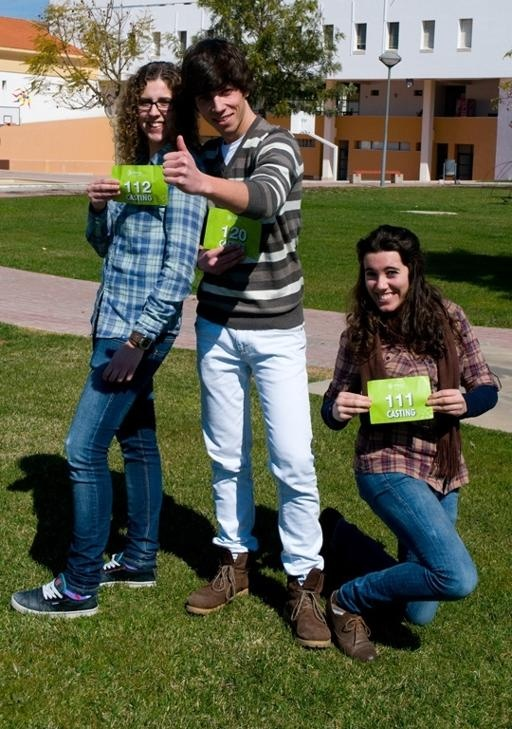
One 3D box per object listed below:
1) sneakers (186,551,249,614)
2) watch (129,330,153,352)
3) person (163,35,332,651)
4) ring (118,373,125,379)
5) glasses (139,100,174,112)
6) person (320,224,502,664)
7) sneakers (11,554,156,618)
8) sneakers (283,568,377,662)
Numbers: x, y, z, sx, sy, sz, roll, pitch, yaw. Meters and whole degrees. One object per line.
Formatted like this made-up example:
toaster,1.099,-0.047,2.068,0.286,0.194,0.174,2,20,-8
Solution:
sneakers,-0.156,0.941,2.696,0.137,0.197,0.353,2,2,41
watch,-0.421,-0.087,2.236,0.073,0.073,0.069,18,3,11
person,0.013,-0.043,2.239,0.640,2.243,0.951,2,6,-4
ring,-0.497,0.041,2.251,0.016,0.015,0.004,6,7,22
glasses,-0.374,-0.960,2.271,0.064,0.019,0.065,-1,3,0
person,0.601,0.276,2.326,0.538,1.620,0.763,-1,7,-32
sneakers,-0.711,0.950,2.618,0.609,0.217,0.203,0,4,-19
sneakers,0.272,0.965,2.411,0.168,0.187,0.413,2,7,-21
